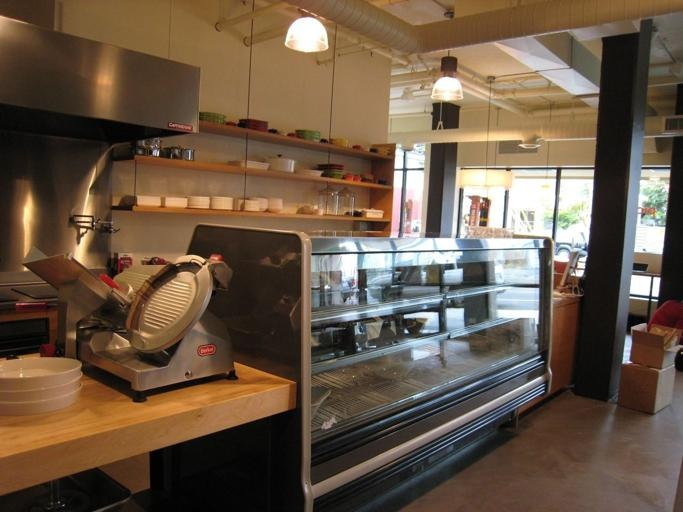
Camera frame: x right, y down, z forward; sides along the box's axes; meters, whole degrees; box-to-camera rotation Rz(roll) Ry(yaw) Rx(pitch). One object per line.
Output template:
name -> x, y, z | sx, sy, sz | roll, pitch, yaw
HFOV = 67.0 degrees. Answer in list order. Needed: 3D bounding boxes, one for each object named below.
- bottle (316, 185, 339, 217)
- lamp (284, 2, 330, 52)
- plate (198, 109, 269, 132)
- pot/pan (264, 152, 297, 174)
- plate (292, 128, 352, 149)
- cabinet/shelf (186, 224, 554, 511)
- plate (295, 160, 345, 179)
bottle -> -0.129, -0.598, 5.574 | 0.307, 0.462, 0.306 | 0, 4, 0
lamp -> -0.253, -1.628, 3.724 | 0.276, 0.234, 0.328 | 1, 9, -17
plate -> -0.968, -1.213, 4.596 | 0.250, 0.131, 0.671 | 12, 12, 43
pot/pan -> -0.587, -0.922, 5.004 | 0.270, 0.130, 0.194 | 0, 0, -41
plate -> -0.235, -1.206, 5.250 | 0.421, 0.082, 0.234 | 5, -3, -41
cabinet/shelf -> 0.418, 0.456, 2.921 | 2.147, 1.252, 0.597 | -4, 12, -43
plate -> -0.204, -0.887, 5.419 | 0.363, 0.121, 0.250 | -2, 0, 29
